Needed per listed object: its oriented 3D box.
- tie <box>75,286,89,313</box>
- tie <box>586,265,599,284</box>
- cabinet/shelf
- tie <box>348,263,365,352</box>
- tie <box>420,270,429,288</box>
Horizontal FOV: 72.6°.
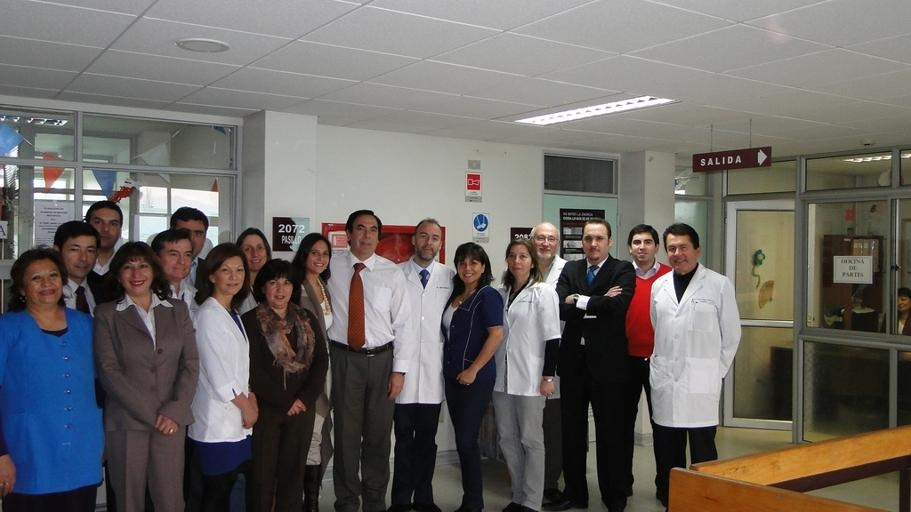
[{"bbox_3d":[-3.226,0.372,5.310,0.051,0.215,0.061,-11,-15,-10],"label":"tie"},{"bbox_3d":[1.384,0.182,6.257,0.049,0.166,0.111,28,1,-24],"label":"tie"},{"bbox_3d":[5.416,0.290,8.649,1.052,1.412,0.992,2,10,34],"label":"cabinet/shelf"},{"bbox_3d":[-0.934,0.469,5.842,0.162,0.808,0.173,2,2,-10],"label":"tie"},{"bbox_3d":[-0.317,0.213,6.108,0.103,0.150,0.037,0,-11,1],"label":"tie"}]
